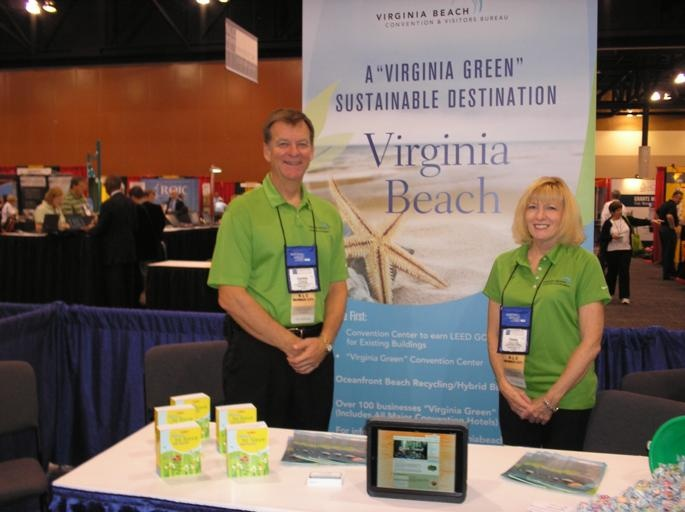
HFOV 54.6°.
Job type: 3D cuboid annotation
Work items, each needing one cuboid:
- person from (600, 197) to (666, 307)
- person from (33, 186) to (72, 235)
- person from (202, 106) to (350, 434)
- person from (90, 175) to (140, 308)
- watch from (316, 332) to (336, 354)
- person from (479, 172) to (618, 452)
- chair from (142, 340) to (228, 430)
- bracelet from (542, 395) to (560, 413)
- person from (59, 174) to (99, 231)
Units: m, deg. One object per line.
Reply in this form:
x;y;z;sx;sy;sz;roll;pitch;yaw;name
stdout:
3.865;-0.056;9.087;0.513;1.426;0.784;-7;6;-37;person
-3.717;-0.575;8.432;0.438;0.956;0.456;4;15;-7;person
-0.264;0.206;2.953;0.461;1.643;0.468;0;1;9;person
-2.610;-0.024;7.588;0.467;1.744;0.570;1;5;31;person
-0.065;0.379;2.868;0.053;0.090;0.077;-19;19;-23;watch
0.918;0.298;2.976;0.437;1.408;0.448;1;1;20;person
-0.830;0.618;3.536;0.312;0.432;0.335;12;9;3;chair
0.909;0.647;2.914;0.060;0.028;0.071;44;-6;-16;bracelet
-3.381;-0.595;8.456;0.396;0.967;0.414;6;14;-5;person
